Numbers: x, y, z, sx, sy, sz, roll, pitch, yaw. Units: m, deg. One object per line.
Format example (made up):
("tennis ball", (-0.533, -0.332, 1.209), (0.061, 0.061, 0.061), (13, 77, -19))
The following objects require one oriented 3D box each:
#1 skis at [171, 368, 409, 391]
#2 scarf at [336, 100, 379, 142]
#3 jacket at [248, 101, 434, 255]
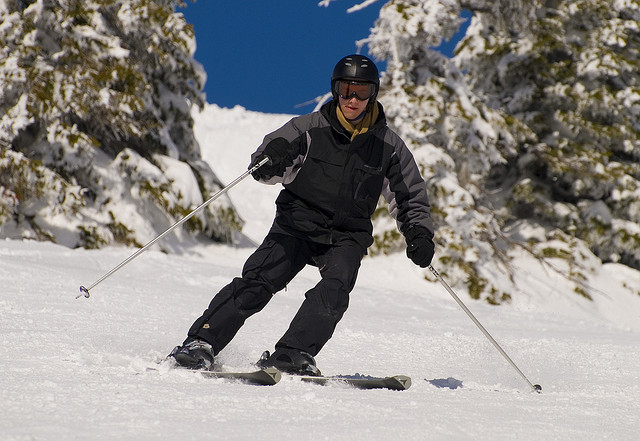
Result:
("skis", (-0.473, 2.061, 11.538), (1.281, 0.068, 0.151), (7, 20, -1))
("scarf", (0.491, -1.367, 12.048), (0.558, 0.552, 0.198), (19, 5, -2))
("jacket", (0.529, -0.600, 13.030), (2.379, 2.009, 1.404), (17, 2, -12))
